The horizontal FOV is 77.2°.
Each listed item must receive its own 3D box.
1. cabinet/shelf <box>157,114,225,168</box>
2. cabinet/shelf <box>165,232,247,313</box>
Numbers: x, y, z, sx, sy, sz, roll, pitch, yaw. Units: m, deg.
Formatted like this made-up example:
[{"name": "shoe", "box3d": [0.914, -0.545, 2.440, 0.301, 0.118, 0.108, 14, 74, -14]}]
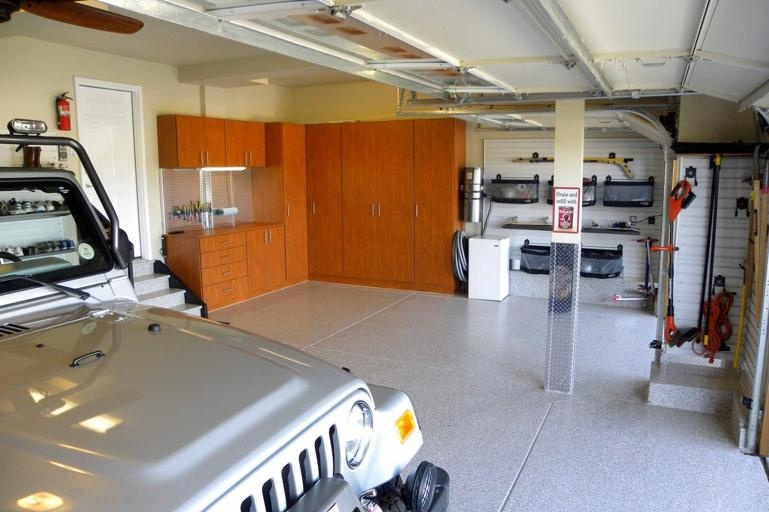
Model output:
[{"name": "cabinet/shelf", "box3d": [-3.103, -1.821, 7.758, 0.416, 0.748, 1.072, 6, 14, 18]}, {"name": "cabinet/shelf", "box3d": [-2.923, 0.172, 7.965, 1.050, 1.154, 1.087, 4, 12, 16]}]
